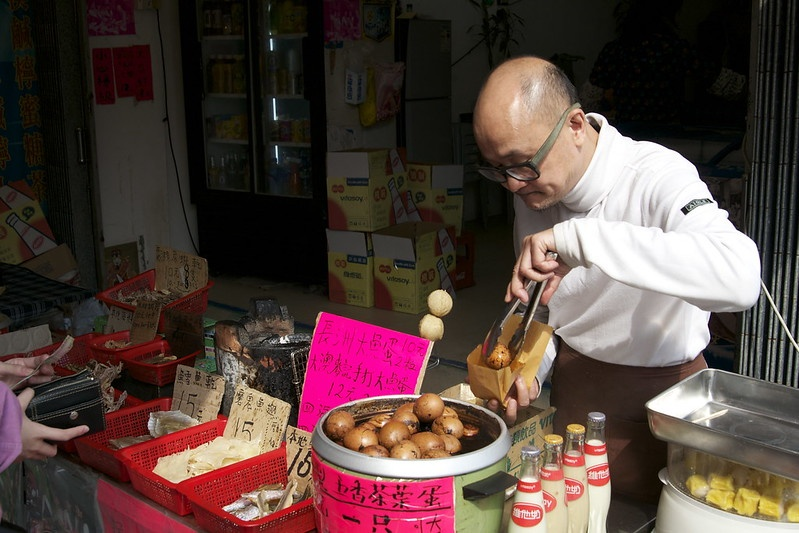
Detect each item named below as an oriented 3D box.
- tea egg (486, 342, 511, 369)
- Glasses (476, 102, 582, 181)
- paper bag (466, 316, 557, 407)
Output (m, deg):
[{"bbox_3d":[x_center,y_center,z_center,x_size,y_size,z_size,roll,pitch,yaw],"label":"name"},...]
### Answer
[{"bbox_3d":[0.284,0.251,1.677,0.049,0.058,0.068,3,-13,7],"label":"tea egg"},{"bbox_3d":[0.369,-0.339,1.797,0.182,0.230,0.334,10,38,9],"label":"Glasses"},{"bbox_3d":[0.328,0.282,1.818,0.198,0.218,0.281,19,30,36],"label":"paper bag"}]
